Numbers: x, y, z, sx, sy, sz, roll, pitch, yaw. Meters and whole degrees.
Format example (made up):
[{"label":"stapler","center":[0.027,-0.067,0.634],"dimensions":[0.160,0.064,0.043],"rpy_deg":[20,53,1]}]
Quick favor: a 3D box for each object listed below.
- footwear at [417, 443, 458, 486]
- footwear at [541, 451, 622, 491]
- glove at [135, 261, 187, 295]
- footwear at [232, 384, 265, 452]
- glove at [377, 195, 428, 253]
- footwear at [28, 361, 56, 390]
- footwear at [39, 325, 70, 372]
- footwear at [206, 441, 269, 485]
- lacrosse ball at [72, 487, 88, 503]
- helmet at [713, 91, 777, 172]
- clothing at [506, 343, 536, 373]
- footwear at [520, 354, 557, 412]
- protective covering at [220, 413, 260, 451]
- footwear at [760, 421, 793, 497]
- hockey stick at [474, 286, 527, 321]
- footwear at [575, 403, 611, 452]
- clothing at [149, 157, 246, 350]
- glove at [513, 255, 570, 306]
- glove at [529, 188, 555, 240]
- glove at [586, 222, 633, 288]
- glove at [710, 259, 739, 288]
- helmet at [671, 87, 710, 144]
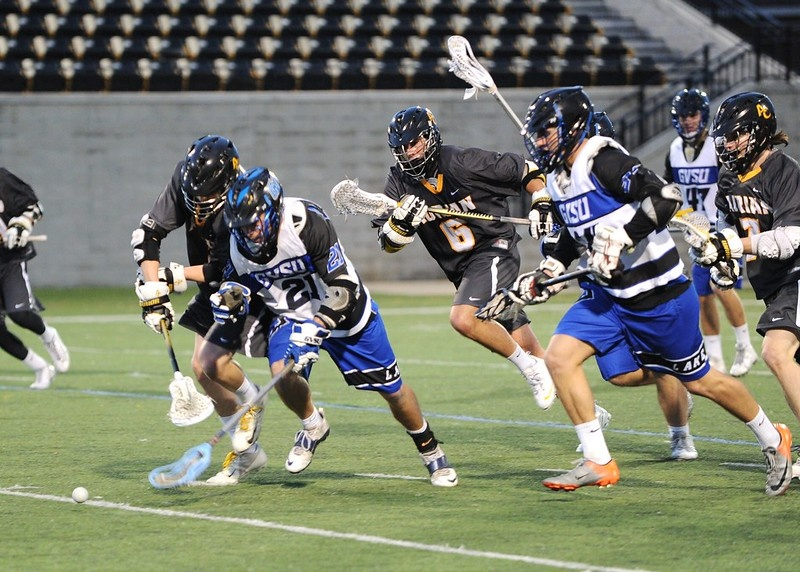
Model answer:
[{"label":"footwear","center":[0.235,1.097,6.855],"dimensions":[0.122,0.148,0.336],"rpy_deg":[-42,41,12]},{"label":"footwear","center":[1.040,1.059,6.512],"dimensions":[0.479,0.220,0.173],"rpy_deg":[-1,-7,-11]},{"label":"glove","center":[-1.504,-0.021,7.233],"dimensions":[0.261,0.165,0.201],"rpy_deg":[-16,14,-15]},{"label":"footwear","center":[-0.900,0.785,6.858],"dimensions":[0.120,0.368,0.154],"rpy_deg":[20,-17,10]},{"label":"glove","center":[0.026,-0.417,7.884],"dimensions":[0.255,0.419,0.185],"rpy_deg":[34,15,9]},{"label":"footwear","center":[-2.942,0.766,9.457],"dimensions":[0.115,0.153,0.330],"rpy_deg":[-14,21,22]},{"label":"footwear","center":[-3.117,0.582,10.350],"dimensions":[0.132,0.397,0.170],"rpy_deg":[-24,17,10]},{"label":"footwear","center":[-0.986,1.084,6.966],"dimensions":[0.418,0.182,0.139],"rpy_deg":[-19,2,-31]},{"label":"lacrosse ball","center":[-1.832,1.193,6.584],"dimensions":[0.081,0.066,0.083],"rpy_deg":[5,4,0]},{"label":"helmet","center":[2.098,-0.947,7.000],"dimensions":[0.427,0.435,0.368],"rpy_deg":[-9,9,1]},{"label":"clothing","center":[0.810,0.528,7.939],"dimensions":[0.132,0.217,0.216],"rpy_deg":[-46,-8,-12]},{"label":"footwear","center":[0.932,0.663,7.922],"dimensions":[0.208,0.469,0.153],"rpy_deg":[21,-49,-41]},{"label":"protective covering","center":[-0.942,0.881,6.861],"dimensions":[0.105,0.127,0.295],"rpy_deg":[-23,28,34]},{"label":"footwear","center":[2.169,0.989,6.529],"dimensions":[0.179,0.421,0.137],"rpy_deg":[21,-18,-21]},{"label":"hockey stick","center":[0.606,0.105,6.834],"dimensions":[0.356,0.126,0.165],"rpy_deg":[-3,-14,29]},{"label":"footwear","center":[1.275,0.934,7.722],"dimensions":[0.195,0.249,0.581],"rpy_deg":[-36,-6,9]},{"label":"clothing","center":[-1.323,-0.185,7.385],"dimensions":[0.740,1.281,0.570],"rpy_deg":[-3,36,-8]},{"label":"glove","center":[0.828,0.007,6.683],"dimensions":[0.211,0.138,0.318],"rpy_deg":[-5,34,45]},{"label":"glove","center":[0.997,-0.503,8.087],"dimensions":[0.204,0.344,0.124],"rpy_deg":[-11,-3,5]},{"label":"glove","center":[1.151,-0.198,6.290],"dimensions":[0.269,0.276,0.117],"rpy_deg":[-2,7,-22]},{"label":"glove","center":[1.921,-0.076,6.781],"dimensions":[0.116,0.211,0.103],"rpy_deg":[10,15,28]},{"label":"helmet","center":[2.563,-1.511,10.203],"dimensions":[0.321,0.437,0.431],"rpy_deg":[-3,0,19]}]
